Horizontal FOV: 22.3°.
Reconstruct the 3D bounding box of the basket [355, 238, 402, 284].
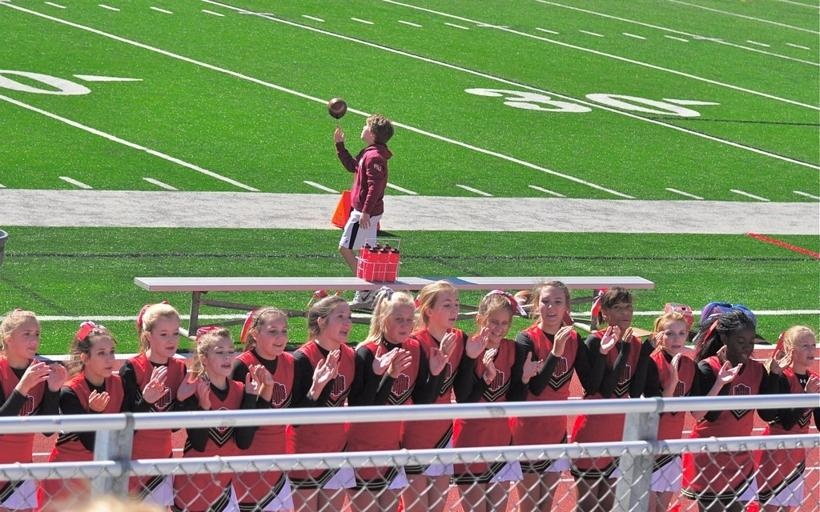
[{"bbox_3d":[-0.825,0.183,51.412,1.155,0.975,0.968,3,6,-13],"label":"basket"}]
